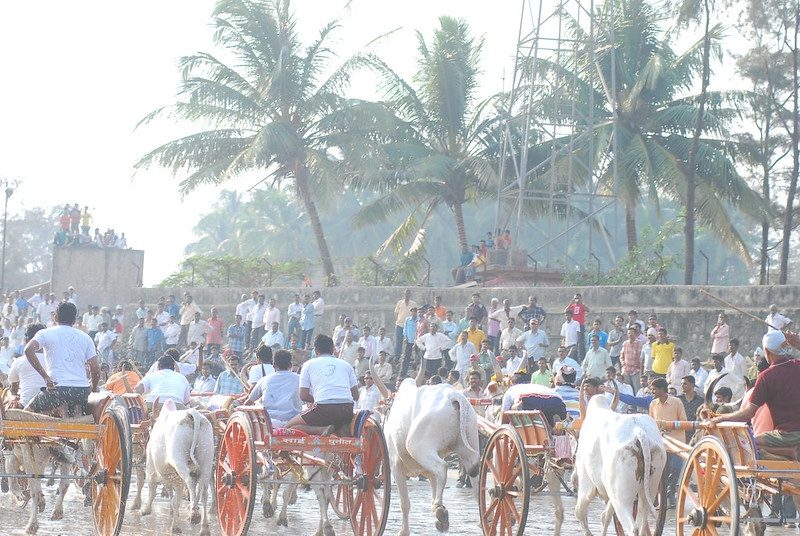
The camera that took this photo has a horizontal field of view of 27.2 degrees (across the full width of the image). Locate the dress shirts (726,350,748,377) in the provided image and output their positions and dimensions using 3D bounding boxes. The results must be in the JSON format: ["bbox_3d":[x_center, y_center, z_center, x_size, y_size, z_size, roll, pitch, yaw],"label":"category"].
[{"bbox_3d":[8.820,2.354,43.223,0.287,0.606,0.552,14,-8,-29],"label":"dress shirts"}]

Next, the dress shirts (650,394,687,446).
[{"bbox_3d":[6.524,3.701,40.516,0.865,1.432,0.717,-3,-5,13],"label":"dress shirts"}]

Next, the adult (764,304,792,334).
[{"bbox_3d":[9.973,1.216,43.431,0.411,1.402,0.672,2,-4,-19],"label":"adult"}]

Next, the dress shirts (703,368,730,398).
[{"bbox_3d":[7.786,2.673,40.363,0.445,0.713,0.227,4,6,-35],"label":"dress shirts"}]

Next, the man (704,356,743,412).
[{"bbox_3d":[8.052,2.732,40.787,0.496,1.398,0.805,3,-11,-22],"label":"man"}]

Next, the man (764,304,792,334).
[{"bbox_3d":[9.973,1.216,43.431,0.411,1.402,0.672,2,-4,-19],"label":"man"}]

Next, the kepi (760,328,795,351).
[{"bbox_3d":[8.209,1.479,36.032,0.526,0.523,0.408,15,21,25],"label":"kepi"}]
